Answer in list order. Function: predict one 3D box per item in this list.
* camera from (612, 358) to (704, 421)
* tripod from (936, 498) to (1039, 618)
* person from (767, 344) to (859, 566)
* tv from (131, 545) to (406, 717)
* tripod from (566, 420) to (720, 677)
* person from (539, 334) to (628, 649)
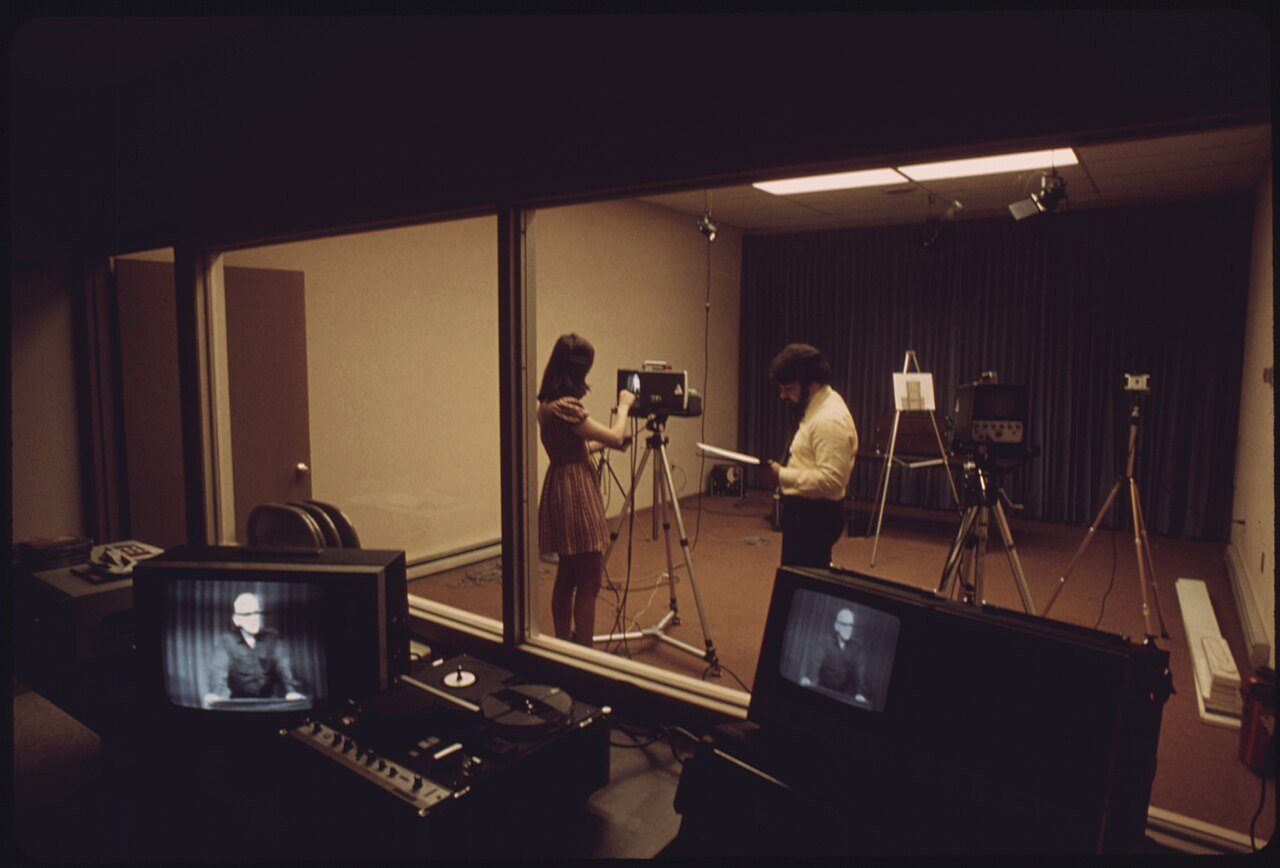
[{"bbox_3d":[0.090,-0.215,5.010,0.403,0.284,0.317,6,3,27],"label":"camera"},{"bbox_3d":[1.982,0.709,5.600,0.568,0.711,0.511,-4,18,-9],"label":"tripod"},{"bbox_3d":[0.777,0.112,4.689,0.438,1.076,0.479,4,5,28],"label":"person"},{"bbox_3d":[-1.341,0.671,3.636,0.847,0.536,0.428,1,12,-4],"label":"tv"},{"bbox_3d":[0.022,0.480,5.100,0.821,1.390,0.898,-4,10,-21],"label":"tripod"},{"bbox_3d":[-0.293,0.286,4.730,0.445,1.503,0.327,1,5,-13],"label":"person"}]
